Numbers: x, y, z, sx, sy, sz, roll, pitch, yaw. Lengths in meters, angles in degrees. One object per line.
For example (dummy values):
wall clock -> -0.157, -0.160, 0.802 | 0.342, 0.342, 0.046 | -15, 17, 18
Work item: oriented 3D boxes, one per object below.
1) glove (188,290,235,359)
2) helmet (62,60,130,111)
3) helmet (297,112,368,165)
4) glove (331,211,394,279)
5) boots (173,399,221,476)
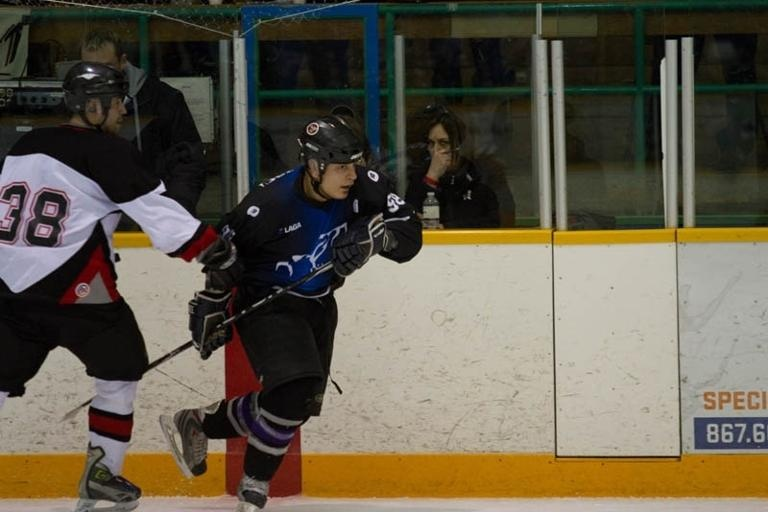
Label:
glove -> -0.837, 0.324, 5.569 | 0.224, 0.303, 0.233 | -3, 8, -12
helmet -> -1.343, -0.805, 5.343 | 0.282, 0.210, 0.220 | -8, 17, -13
helmet -> -0.226, -0.564, 5.379 | 0.287, 0.246, 0.211 | -2, 26, 16
glove -> -0.114, -0.065, 5.461 | 0.311, 0.145, 0.387 | -15, 3, 5
boots -> -0.981, 0.930, 5.771 | 0.145, 0.425, 0.313 | 39, 63, 22
